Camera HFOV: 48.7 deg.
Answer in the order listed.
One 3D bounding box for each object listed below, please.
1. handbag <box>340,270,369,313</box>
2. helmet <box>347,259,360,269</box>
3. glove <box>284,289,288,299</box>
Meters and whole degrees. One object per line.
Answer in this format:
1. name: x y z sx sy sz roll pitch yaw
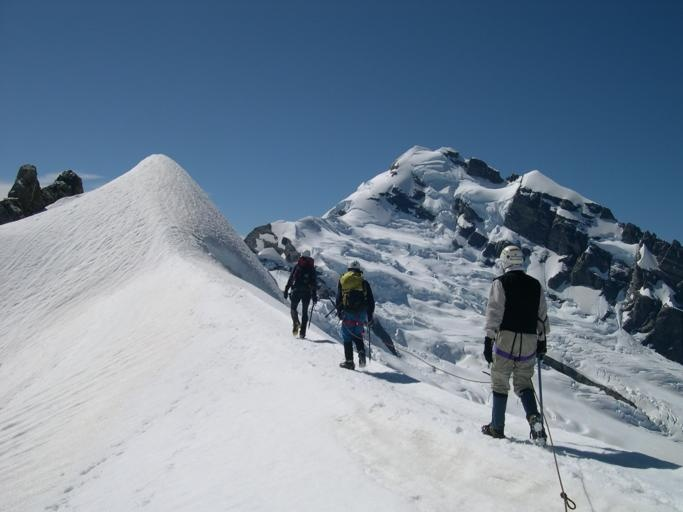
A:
1. handbag: 0.663 1.951 40.778 1.527 2.247 0.620 2 7 1
2. helmet: 0.676 0.507 40.805 0.478 0.522 0.574 10 16 43
3. glove: -3.162 2.202 43.414 0.176 0.554 0.733 3 7 9
